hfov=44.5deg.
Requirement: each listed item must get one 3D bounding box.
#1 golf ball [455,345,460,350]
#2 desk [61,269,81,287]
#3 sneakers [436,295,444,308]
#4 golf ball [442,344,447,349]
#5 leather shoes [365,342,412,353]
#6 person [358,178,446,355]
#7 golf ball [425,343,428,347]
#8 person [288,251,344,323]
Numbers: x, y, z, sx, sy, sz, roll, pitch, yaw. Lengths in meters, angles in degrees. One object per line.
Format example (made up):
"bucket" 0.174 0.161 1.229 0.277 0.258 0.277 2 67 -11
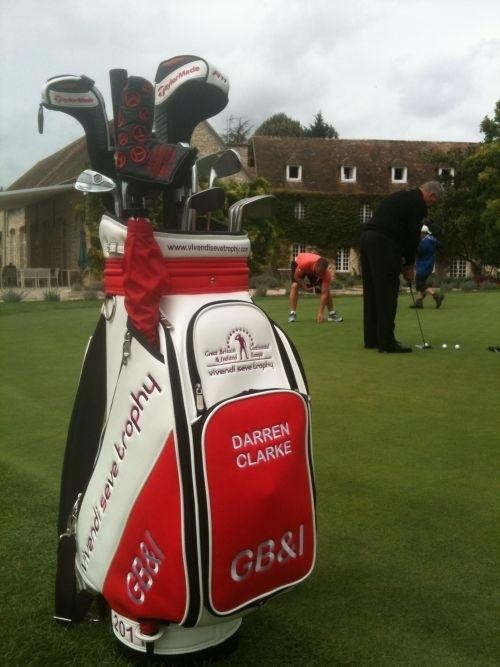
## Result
"golf ball" 2.395 0.143 7.061 0.053 0.048 0.065 7 -14 -31
"desk" -10.836 -3.469 36.507 0.824 0.983 2.322 -6 7 -29
"sneakers" 3.844 -0.681 12.373 0.114 0.243 0.084 6 25 26
"golf ball" 2.267 0.140 7.108 0.057 0.039 0.050 -6 10 -38
"leather shoes" 1.584 0.122 6.882 0.448 0.183 0.158 -1 6 -2
"person" 1.697 -0.780 6.872 0.938 1.929 0.705 2 6 -9
"golf ball" 2.047 0.118 7.078 0.032 0.041 0.042 1 -15 -3
"person" 1.219 -0.874 11.133 1.010 1.407 1.311 1 8 3
